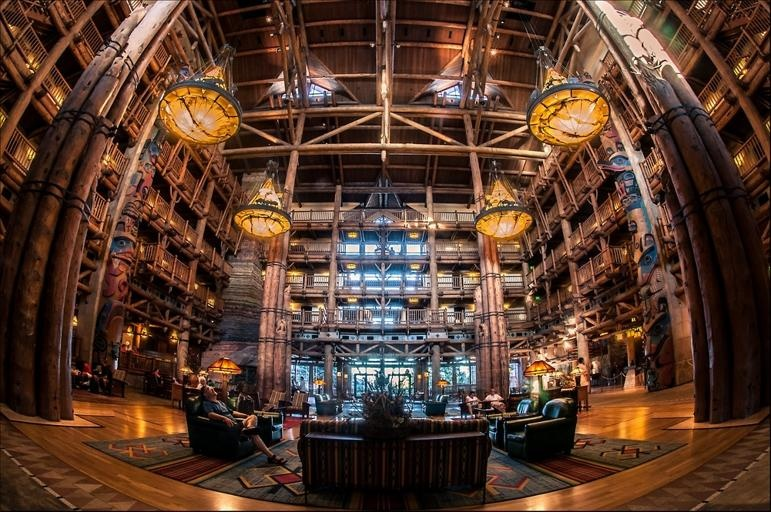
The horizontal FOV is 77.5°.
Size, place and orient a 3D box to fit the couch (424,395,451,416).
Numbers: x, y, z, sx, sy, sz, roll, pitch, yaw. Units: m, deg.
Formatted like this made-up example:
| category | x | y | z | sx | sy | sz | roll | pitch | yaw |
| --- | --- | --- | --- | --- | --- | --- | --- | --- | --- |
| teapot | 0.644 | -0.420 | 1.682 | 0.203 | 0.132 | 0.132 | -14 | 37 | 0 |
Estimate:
| category | x | y | z | sx | sy | sz | roll | pitch | yaw |
| --- | --- | --- | --- | --- | --- | --- | --- | --- | --- |
| couch | 1.931 | 5.577 | 17.568 | 0.832 | 0.722 | 0.906 | 1 | -24 | 2 |

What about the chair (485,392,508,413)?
| category | x | y | z | sx | sy | sz | roll | pitch | yaw |
| --- | --- | --- | --- | --- | --- | --- | --- | --- | --- |
| chair | 3.642 | 4.813 | 15.552 | 0.403 | 0.419 | 0.877 | 17 | -19 | 9 |

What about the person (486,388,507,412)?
| category | x | y | z | sx | sy | sz | roll | pitch | yaw |
| --- | --- | --- | --- | --- | --- | --- | --- | --- | --- |
| person | 3.652 | 4.777 | 15.668 | 0.492 | 0.507 | 1.075 | 4 | -20 | 6 |

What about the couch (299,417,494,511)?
| category | x | y | z | sx | sy | sz | roll | pitch | yaw |
| --- | --- | --- | --- | --- | --- | --- | --- | --- | --- |
| couch | 0.175 | 3.910 | 9.388 | 3.645 | 1.292 | 0.424 | 0 | -2 | -2 |

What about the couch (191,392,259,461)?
| category | x | y | z | sx | sy | sz | roll | pitch | yaw |
| --- | --- | --- | --- | --- | --- | --- | --- | --- | --- |
| couch | -3.839 | 4.012 | 11.272 | 1.733 | 1.240 | 1.650 | 12 | -14 | -36 |

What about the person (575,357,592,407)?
| category | x | y | z | sx | sy | sz | roll | pitch | yaw |
| --- | --- | --- | --- | --- | --- | --- | --- | --- | --- |
| person | 6.883 | 4.656 | 17.050 | 0.685 | 1.424 | 0.735 | -4 | -14 | 7 |

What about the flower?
| category | x | y | z | sx | sy | sz | roll | pitch | yaw |
| --- | --- | --- | --- | --- | --- | --- | --- | --- | --- |
| flower | 0.043 | 2.892 | 9.803 | 1.007 | 1.028 | 0.981 | -1 | -4 | 17 |

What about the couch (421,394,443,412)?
| category | x | y | z | sx | sy | sz | roll | pitch | yaw |
| --- | --- | --- | --- | --- | --- | --- | --- | --- | --- |
| couch | 1.755 | 5.427 | 17.806 | 0.935 | 0.867 | 1.100 | 0 | -25 | 3 |

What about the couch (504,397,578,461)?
| category | x | y | z | sx | sy | sz | roll | pitch | yaw |
| --- | --- | --- | --- | --- | --- | --- | --- | --- | --- |
| couch | 3.566 | 4.102 | 11.235 | 1.664 | 1.406 | 1.248 | 7 | -20 | -13 |

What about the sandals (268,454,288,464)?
| category | x | y | z | sx | sy | sz | roll | pitch | yaw |
| --- | --- | --- | --- | --- | --- | --- | --- | --- | --- |
| sandals | -2.416 | 4.517 | 10.610 | 0.478 | 0.140 | 0.173 | 1 | -2 | 8 |

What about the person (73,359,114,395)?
| category | x | y | z | sx | sy | sz | roll | pitch | yaw |
| --- | --- | --- | --- | --- | --- | --- | --- | --- | --- |
| person | -9.943 | 4.191 | 16.438 | 1.195 | 0.999 | 1.179 | 2 | -5 | 5 |
